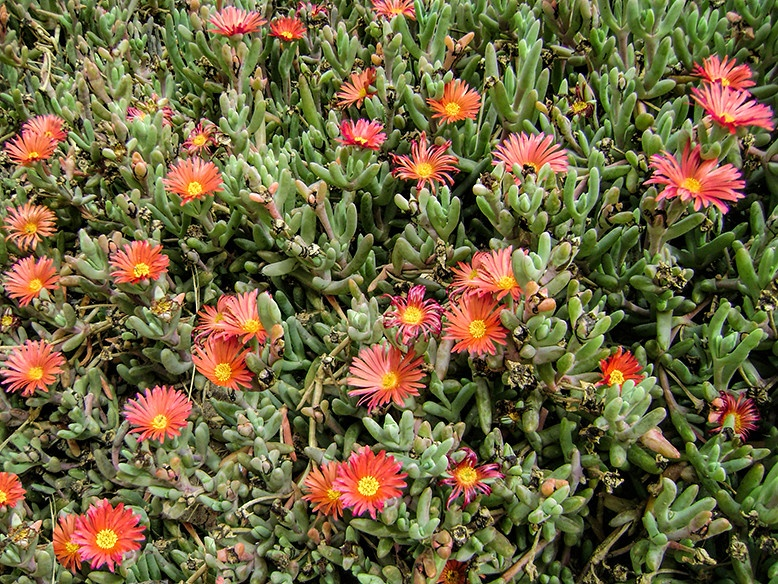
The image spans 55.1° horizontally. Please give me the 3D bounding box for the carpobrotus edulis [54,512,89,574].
[{"bbox_3d":[-0.698,0.554,1.677,0.108,0.119,0.031,33,15,27],"label":"carpobrotus edulis"}]

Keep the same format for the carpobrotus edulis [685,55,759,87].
[{"bbox_3d":[0.820,-0.546,1.845,0.109,0.051,0.115,31,31,13],"label":"carpobrotus edulis"}]

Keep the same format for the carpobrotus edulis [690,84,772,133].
[{"bbox_3d":[0.780,-0.417,1.706,0.115,0.053,0.126,9,39,-22],"label":"carpobrotus edulis"}]

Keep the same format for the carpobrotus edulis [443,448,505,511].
[{"bbox_3d":[0.178,0.360,1.528,0.111,0.036,0.116,-7,64,1],"label":"carpobrotus edulis"}]

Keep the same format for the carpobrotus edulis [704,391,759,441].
[{"bbox_3d":[0.759,0.277,1.648,0.119,0.049,0.132,3,75,-3],"label":"carpobrotus edulis"}]

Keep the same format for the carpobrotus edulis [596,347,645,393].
[{"bbox_3d":[0.504,0.166,1.634,0.078,0.039,0.092,-5,57,-6],"label":"carpobrotus edulis"}]

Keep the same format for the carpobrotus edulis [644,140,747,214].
[{"bbox_3d":[0.661,-0.284,1.677,0.151,0.168,0.066,1,77,-28],"label":"carpobrotus edulis"}]

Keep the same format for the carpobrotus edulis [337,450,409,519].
[{"bbox_3d":[-0.038,0.377,1.515,0.164,0.074,0.161,-5,11,-44],"label":"carpobrotus edulis"}]
